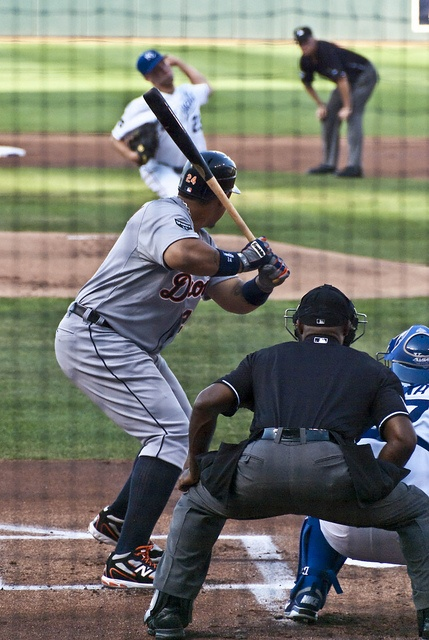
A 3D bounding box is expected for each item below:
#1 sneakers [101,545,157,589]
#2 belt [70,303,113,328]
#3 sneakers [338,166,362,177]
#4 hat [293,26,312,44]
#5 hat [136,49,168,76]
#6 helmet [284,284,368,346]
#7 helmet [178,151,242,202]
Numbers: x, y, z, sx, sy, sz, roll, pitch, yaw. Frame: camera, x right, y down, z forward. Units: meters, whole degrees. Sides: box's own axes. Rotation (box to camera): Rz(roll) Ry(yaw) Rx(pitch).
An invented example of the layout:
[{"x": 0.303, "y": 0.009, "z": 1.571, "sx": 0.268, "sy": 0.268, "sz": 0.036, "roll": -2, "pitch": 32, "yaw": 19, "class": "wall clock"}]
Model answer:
[{"x": -0.242, "y": 0.883, "z": 3.454, "sx": 0.315, "sy": 0.119, "sz": 0.095, "roll": 2, "pitch": 4, "yaw": -1, "class": "sneakers"}, {"x": -0.457, "y": -0.022, "z": 3.490, "sx": 0.129, "sy": 0.033, "sz": 0.088, "roll": 20, "pitch": -6, "yaw": 11, "class": "belt"}, {"x": 0.886, "y": -0.971, "z": 6.293, "sx": 0.079, "sy": 0.075, "sz": 0.220, "roll": -7, "pitch": 13, "yaw": -35, "class": "sneakers"}, {"x": 0.703, "y": -2.169, "z": 7.386, "sx": 0.149, "sy": 0.181, "sz": 0.065, "roll": -13, "pitch": -46, "yaw": 27, "class": "hat"}, {"x": -0.515, "y": -2.087, "z": 7.781, "sx": 0.222, "sy": 0.215, "sz": 0.475, "roll": -4, "pitch": 12, "yaw": -2, "class": "hat"}, {"x": 0.361, "y": -0.028, "z": 3.138, "sx": 0.273, "sy": 0.174, "sz": 0.239, "roll": 5, "pitch": 9, "yaw": 7, "class": "helmet"}, {"x": -0.005, "y": -0.535, "z": 3.592, "sx": 0.174, "sy": 0.122, "sz": 0.264, "roll": 23, "pitch": 27, "yaw": 39, "class": "helmet"}]
